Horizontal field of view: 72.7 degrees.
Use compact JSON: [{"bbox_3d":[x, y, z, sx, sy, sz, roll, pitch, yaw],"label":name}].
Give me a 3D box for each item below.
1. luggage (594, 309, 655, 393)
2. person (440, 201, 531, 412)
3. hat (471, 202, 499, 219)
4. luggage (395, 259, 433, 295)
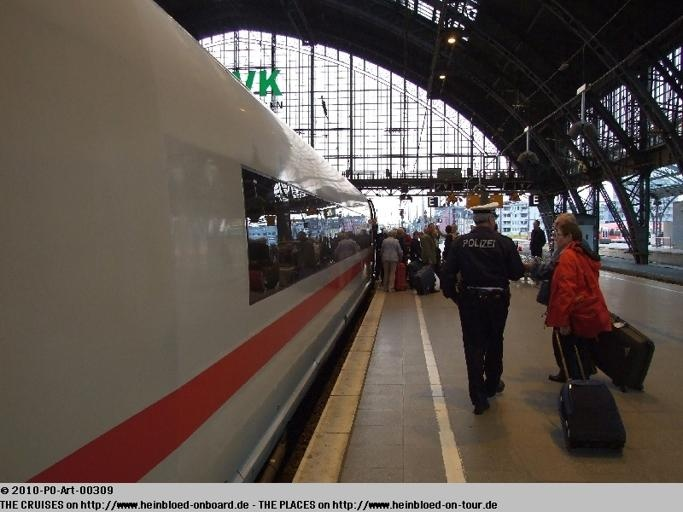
[{"bbox_3d":[3.061,1.057,5.017,0.243,0.668,0.682,-9,32,-14],"label":"luggage"},{"bbox_3d":[1.394,0.513,4.592,0.770,2.056,0.396,-1,2,6],"label":"person"},{"bbox_3d":[1.437,-0.456,4.621,0.195,0.095,0.171,-11,3,-28],"label":"hat"},{"bbox_3d":[2.056,0.729,12.809,0.857,0.747,1.006,3,11,31],"label":"luggage"}]
